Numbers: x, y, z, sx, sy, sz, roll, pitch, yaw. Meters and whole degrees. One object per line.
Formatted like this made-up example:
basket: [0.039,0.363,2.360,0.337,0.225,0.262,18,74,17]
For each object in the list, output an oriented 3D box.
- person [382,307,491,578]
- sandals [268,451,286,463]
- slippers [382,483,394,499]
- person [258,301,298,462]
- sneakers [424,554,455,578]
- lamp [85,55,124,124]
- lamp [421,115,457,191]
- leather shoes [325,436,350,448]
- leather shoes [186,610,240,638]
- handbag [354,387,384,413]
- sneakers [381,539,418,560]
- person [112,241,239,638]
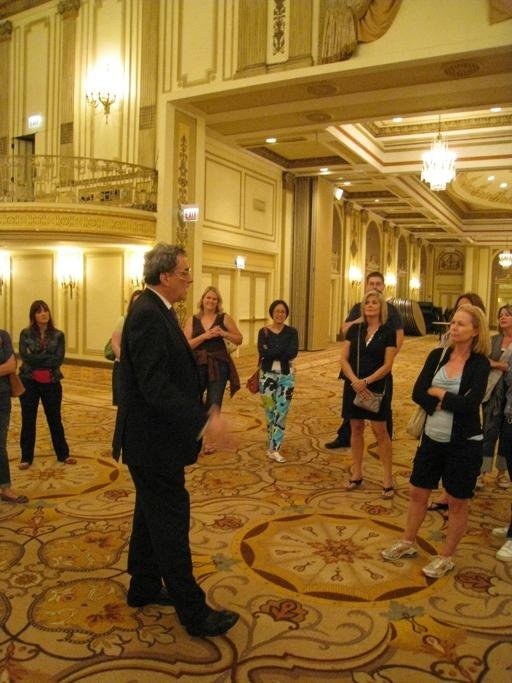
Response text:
person: [0.903,0.477,2.459,0.339,1.310,0.397,1,3,-23]
sandals: [0.189,1.014,4.426,0.061,0.059,0.147,2,-5,-35]
slippers: [0.919,1.045,3.517,0.100,0.075,0.268,-2,-4,11]
person: [0.184,0.330,4.610,0.357,1.414,0.602,2,3,1]
sneakers: [0.887,1.082,2.479,0.185,0.076,0.073,-4,3,-34]
lamp: [-2.822,-4.731,9.519,0.669,0.941,0.613,0,34,-12]
lamp: [3.706,-3.811,10.227,0.650,1.720,1.574,3,3,17]
leather shoes: [0.809,0.984,4.957,0.309,0.120,0.099,3,-2,-21]
leather shoes: [-0.155,1.040,1.893,0.184,0.075,0.096,-17,6,-1]
handbag: [0.764,0.405,3.437,0.154,0.133,0.059,14,-8,25]
sneakers: [0.746,1.080,2.652,0.190,0.078,0.083,-3,5,-10]
person: [-0.307,0.370,1.914,0.453,1.510,0.492,1,3,-16]
